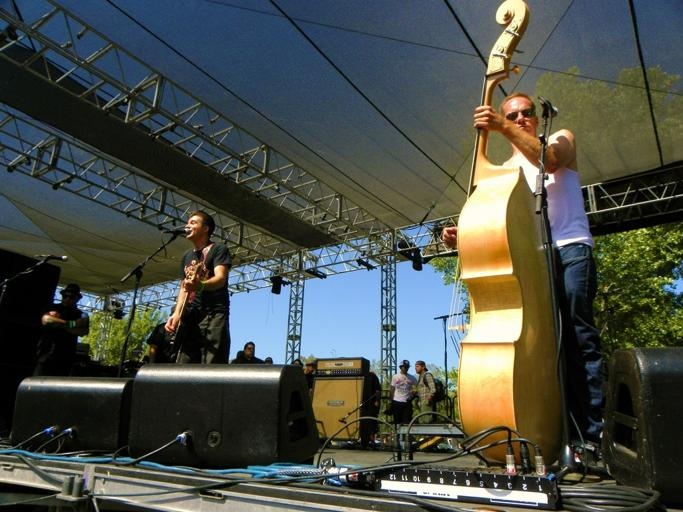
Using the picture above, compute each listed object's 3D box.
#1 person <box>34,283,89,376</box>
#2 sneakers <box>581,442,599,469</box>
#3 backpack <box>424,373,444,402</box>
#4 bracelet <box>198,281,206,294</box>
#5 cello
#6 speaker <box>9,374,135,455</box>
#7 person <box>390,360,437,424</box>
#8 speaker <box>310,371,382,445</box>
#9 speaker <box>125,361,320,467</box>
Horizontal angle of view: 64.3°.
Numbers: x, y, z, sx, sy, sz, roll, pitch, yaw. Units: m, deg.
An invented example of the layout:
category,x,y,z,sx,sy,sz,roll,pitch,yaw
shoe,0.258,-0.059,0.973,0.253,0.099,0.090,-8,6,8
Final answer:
category,x,y,z,sx,sy,sz,roll,pitch,yaw
person,-3.525,0.915,6.887,0.533,1.208,0.984,5,-18,-16
sneakers,1.414,1.146,3.107,0.098,0.120,0.344,-7,-16,21
backpack,1.875,2.653,10.923,0.316,0.567,0.695,-6,-17,17
bracelet,-1.091,0.231,4.219,0.036,0.074,0.073,-1,-16,3
cello,0.991,0.151,3.289,0.647,2.132,0.449,2,-18,-7
speaker,-1.794,1.083,3.733,0.951,0.454,0.301,-3,-1,21
person,1.431,2.782,11.144,0.795,1.225,1.249,0,-16,0
speaker,0.051,2.936,10.400,1.251,1.366,0.864,0,-17,0
speaker,-0.687,0.964,3.472,1.206,0.514,0.674,-7,-6,32
